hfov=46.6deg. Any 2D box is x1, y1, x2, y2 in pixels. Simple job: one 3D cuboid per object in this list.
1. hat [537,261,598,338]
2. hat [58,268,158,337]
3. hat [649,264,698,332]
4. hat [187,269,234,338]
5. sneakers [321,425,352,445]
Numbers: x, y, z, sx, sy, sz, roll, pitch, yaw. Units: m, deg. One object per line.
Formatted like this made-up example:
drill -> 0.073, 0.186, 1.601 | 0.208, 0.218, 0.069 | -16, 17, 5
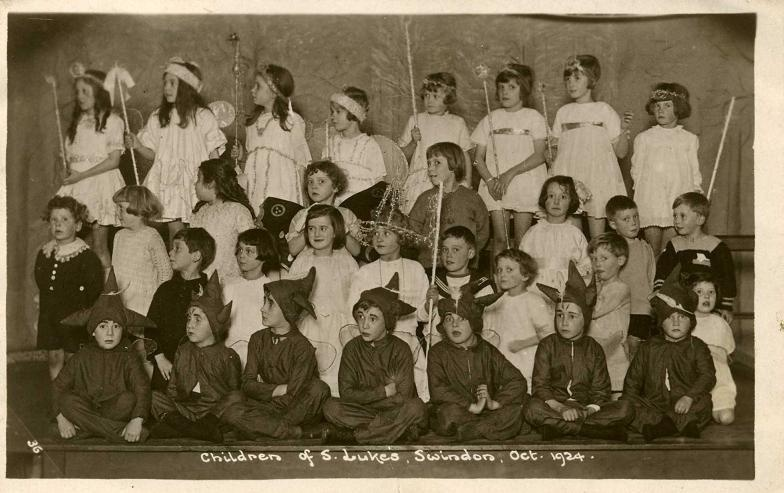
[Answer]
hat -> 1.696, 0.549, 8.932 | 0.778, 0.699, 0.466 | -1, -13, 11
hat -> -2.816, 0.668, 9.182 | 1.202, 0.781, 0.507 | 2, -11, -10
hat -> 2.747, 0.490, 8.902 | 0.501, 0.542, 0.565 | 6, -22, 4
hat -> -1.797, 0.585, 8.987 | 0.400, 0.686, 0.391 | -3, 5, -11
sneakers -> -0.542, 1.806, 8.617 | 0.291, 0.122, 0.382 | -3, -21, 3
